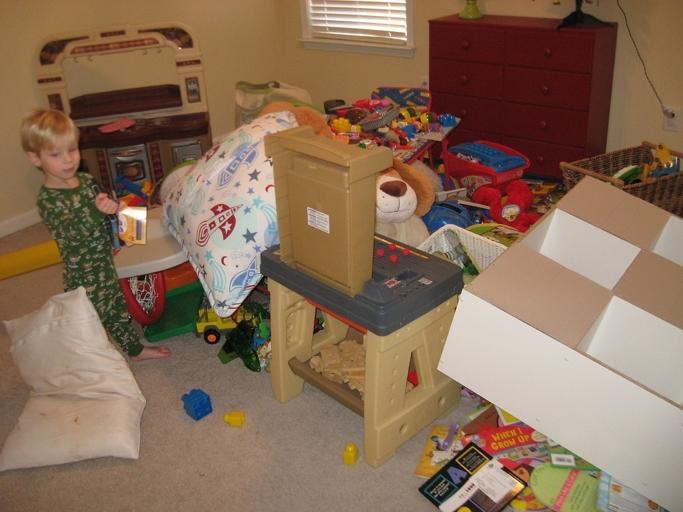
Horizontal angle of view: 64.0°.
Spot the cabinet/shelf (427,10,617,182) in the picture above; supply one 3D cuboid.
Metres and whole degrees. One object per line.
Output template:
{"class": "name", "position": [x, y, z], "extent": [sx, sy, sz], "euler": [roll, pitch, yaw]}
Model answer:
{"class": "cabinet/shelf", "position": [1.130, -0.976, 3.300], "extent": [0.947, 0.883, 0.403], "euler": [24, 45, 28]}

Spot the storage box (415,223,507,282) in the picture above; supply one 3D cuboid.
{"class": "storage box", "position": [0.549, -0.056, 2.470], "extent": [0.326, 0.255, 0.129], "euler": [31, 31, 14]}

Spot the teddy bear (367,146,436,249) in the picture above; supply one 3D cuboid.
{"class": "teddy bear", "position": [0.279, -0.225, 2.475], "extent": [0.204, 0.361, 0.313], "euler": [11, 31, 24]}

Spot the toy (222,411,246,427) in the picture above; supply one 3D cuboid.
{"class": "toy", "position": [-0.435, 0.666, 2.236], "extent": [0.070, 0.051, 0.054], "euler": [-1, 22, 2]}

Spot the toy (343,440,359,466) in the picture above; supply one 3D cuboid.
{"class": "toy", "position": [0.034, 0.750, 2.065], "extent": [0.065, 0.093, 0.067], "euler": [13, 40, 18]}

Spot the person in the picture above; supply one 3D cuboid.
{"class": "person", "position": [-1.074, -0.042, 2.372], "extent": [0.416, 1.126, 0.278], "euler": [21, 36, 38]}

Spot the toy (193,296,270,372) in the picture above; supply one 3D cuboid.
{"class": "toy", "position": [-0.499, 0.374, 2.565], "extent": [0.332, 0.295, 0.209], "euler": [-3, -8, 1]}

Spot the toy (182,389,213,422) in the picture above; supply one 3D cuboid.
{"class": "toy", "position": [-0.610, 0.626, 2.332], "extent": [0.109, 0.080, 0.118], "euler": [-34, 59, -27]}

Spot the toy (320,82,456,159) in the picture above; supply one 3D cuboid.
{"class": "toy", "position": [0.362, -0.823, 3.312], "extent": [0.644, 0.214, 0.681], "euler": [32, 48, 23]}
